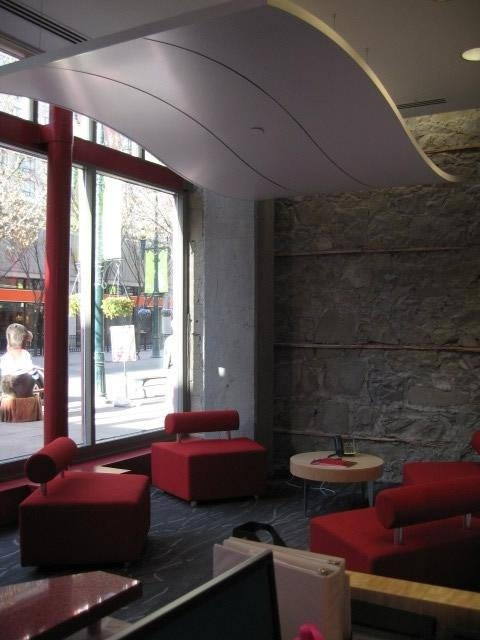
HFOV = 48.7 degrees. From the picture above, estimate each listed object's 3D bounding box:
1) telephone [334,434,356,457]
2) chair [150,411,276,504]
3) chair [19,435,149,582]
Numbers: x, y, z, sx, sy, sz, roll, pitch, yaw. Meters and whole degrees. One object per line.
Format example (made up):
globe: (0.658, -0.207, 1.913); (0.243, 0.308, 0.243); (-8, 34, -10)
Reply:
telephone: (0.964, 1.184, 5.001); (0.200, 0.224, 0.151); (0, 0, -5)
chair: (-0.364, 1.304, 5.387); (0.960, 0.788, 0.939); (3, -8, -27)
chair: (-1.132, 1.330, 4.024); (0.833, 0.739, 0.873); (1, -3, -6)
